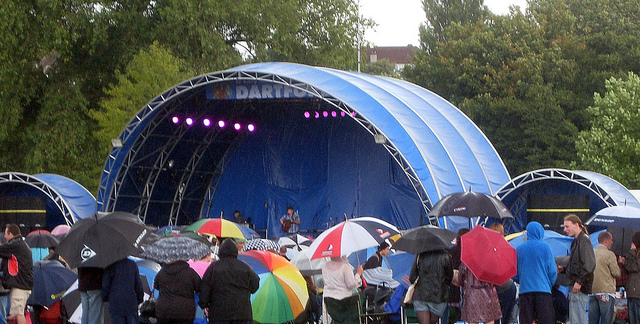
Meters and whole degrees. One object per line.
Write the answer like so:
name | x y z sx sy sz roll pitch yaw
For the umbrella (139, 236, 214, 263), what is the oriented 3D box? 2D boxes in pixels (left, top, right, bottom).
umbrella | -6.123 3.719 32.876 2.640 1.037 0.349 0 -14 2

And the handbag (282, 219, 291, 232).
handbag | -2.084 3.878 46.664 0.167 0.659 0.493 20 -7 -39

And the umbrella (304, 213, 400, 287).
umbrella | 1.396 3.418 34.479 3.709 1.998 1.060 5 -15 -15

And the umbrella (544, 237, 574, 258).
umbrella | 11.168 3.967 36.155 1.034 0.357 1.027 2 6 7

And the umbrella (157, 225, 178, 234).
umbrella | -7.816 3.470 39.252 0.925 0.603 1.797 4 -15 -12
